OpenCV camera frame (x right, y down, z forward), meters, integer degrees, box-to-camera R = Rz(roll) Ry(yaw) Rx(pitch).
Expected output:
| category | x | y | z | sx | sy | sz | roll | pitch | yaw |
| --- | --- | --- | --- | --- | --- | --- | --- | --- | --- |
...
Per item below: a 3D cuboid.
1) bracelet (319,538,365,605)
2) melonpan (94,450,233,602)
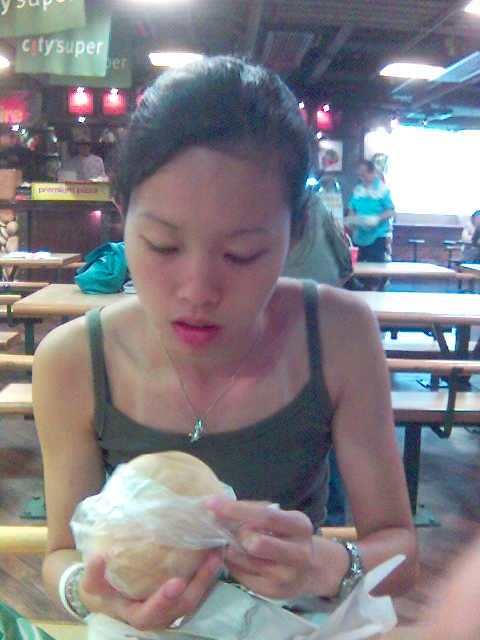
| category | x | y | z | sx | sy | sz | roll | pitch | yaw |
| --- | --- | --- | --- | --- | --- | --- | --- | --- | --- |
| bracelet | 0.145 | 0.345 | 0.766 | 0.042 | 0.022 | 0.057 | -7 | 9 | 32 |
| melonpan | -0.086 | 0.227 | 0.634 | 0.132 | 0.139 | 0.117 | 1 | 11 | -7 |
